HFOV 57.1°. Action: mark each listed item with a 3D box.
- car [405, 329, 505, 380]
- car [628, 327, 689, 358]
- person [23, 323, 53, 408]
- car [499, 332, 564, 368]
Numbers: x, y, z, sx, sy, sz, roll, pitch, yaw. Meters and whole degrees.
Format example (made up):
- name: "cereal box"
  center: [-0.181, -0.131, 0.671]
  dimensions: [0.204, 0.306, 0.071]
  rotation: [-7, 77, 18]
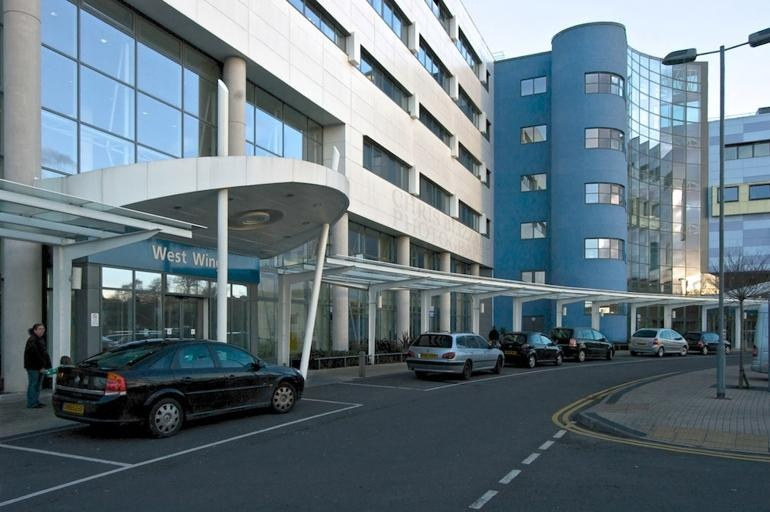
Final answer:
- name: "car"
  center: [3.120, 3.875, 27.742]
  dimensions: [4.648, 1.766, 1.682]
  rotation: [5, -11, -38]
- name: "car"
  center: [16.249, 5.075, 41.735]
  dimensions: [3.018, 1.323, 1.635]
  rotation: [1, -2, -37]
- name: "person"
  center: [-9.705, 3.011, 19.715]
  dimensions: [0.641, 2.331, 0.971]
  rotation: [2, -8, -27]
- name: "car"
  center: [6.855, 4.314, 33.097]
  dimensions: [2.551, 1.151, 1.522]
  rotation: [1, -4, -41]
